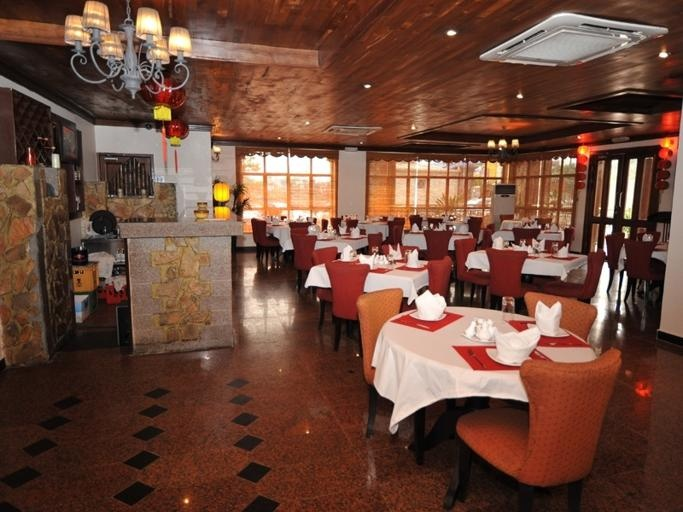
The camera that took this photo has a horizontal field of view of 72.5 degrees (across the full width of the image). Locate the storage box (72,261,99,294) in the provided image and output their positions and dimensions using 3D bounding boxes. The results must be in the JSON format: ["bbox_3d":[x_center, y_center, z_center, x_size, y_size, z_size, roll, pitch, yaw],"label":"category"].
[{"bbox_3d":[-3.811,0.297,7.036,0.387,0.433,0.649,-2,5,-15],"label":"storage box"}]

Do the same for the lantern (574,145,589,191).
[{"bbox_3d":[6.568,-2.407,12.682,0.332,1.168,0.501,4,10,27],"label":"lantern"}]

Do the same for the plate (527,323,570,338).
[{"bbox_3d":[1.638,0.589,3.626,0.212,0.047,0.191,6,1,-7],"label":"plate"}]

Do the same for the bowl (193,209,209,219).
[{"bbox_3d":[-1.765,-0.521,5.851,0.167,0.092,0.158,0,-3,0],"label":"bowl"}]

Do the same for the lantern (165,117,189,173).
[{"bbox_3d":[-2.806,-1.937,7.878,0.351,1.022,0.339,-5,17,-41],"label":"lantern"}]

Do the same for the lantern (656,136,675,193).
[{"bbox_3d":[7.337,-2.061,10.505,0.318,1.158,0.771,5,10,33],"label":"lantern"}]

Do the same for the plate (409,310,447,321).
[{"bbox_3d":[0.735,0.499,3.986,0.324,0.044,0.265,0,7,7],"label":"plate"}]

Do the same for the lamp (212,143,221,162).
[{"bbox_3d":[-3.472,-2.848,12.881,0.250,0.442,0.542,-3,8,-14],"label":"lamp"}]
